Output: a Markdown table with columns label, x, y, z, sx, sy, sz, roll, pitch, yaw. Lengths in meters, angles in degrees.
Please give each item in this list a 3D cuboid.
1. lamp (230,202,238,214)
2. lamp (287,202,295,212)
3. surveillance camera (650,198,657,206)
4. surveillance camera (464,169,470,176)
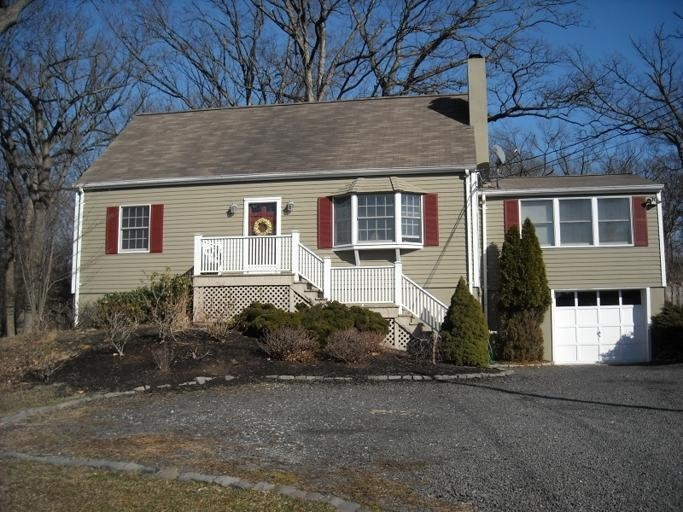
| label | x | y | z | sx | sy | sz | roll | pitch | yaw |
| --- | --- | --- | --- | --- | --- | --- | --- | --- | --- |
| lamp | -3.488 | -1.549 | 21.929 | 0.238 | 0.282 | 0.252 | 2 | -10 | -14 |
| lamp | -1.643 | -1.569 | 21.660 | 0.249 | 0.354 | 0.271 | -1 | 0 | 8 |
| surveillance camera | 9.751 | -1.697 | 21.264 | 0.221 | 0.231 | 0.086 | 0 | 5 | -15 |
| surveillance camera | 3.886 | -2.570 | 21.010 | 0.126 | 0.228 | 0.071 | 1 | 4 | 8 |
